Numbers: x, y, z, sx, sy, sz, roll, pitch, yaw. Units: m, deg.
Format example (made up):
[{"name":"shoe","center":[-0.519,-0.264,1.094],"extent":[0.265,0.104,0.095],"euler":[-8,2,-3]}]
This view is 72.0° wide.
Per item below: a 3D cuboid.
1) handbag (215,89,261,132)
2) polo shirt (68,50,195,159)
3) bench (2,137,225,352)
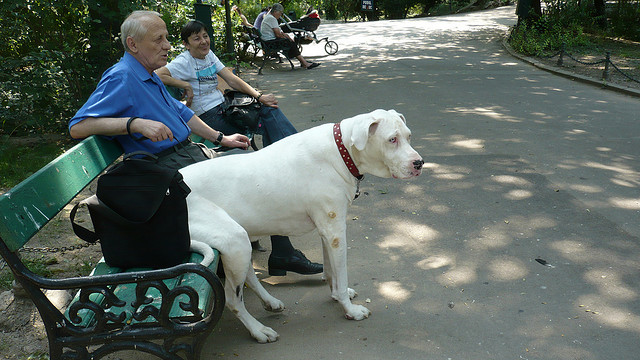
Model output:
[{"name":"handbag","center":[-1.105,-0.986,6.276],"extent":[0.637,0.225,0.636],"euler":[23,12,31]},{"name":"polo shirt","center":[-2.071,-0.858,5.038],"extent":[0.653,1.101,1.199],"euler":[6,28,26]},{"name":"bench","center":[-2.022,0.698,4.437],"extent":[1.411,1.085,2.457],"euler":[2,14,-5]}]
